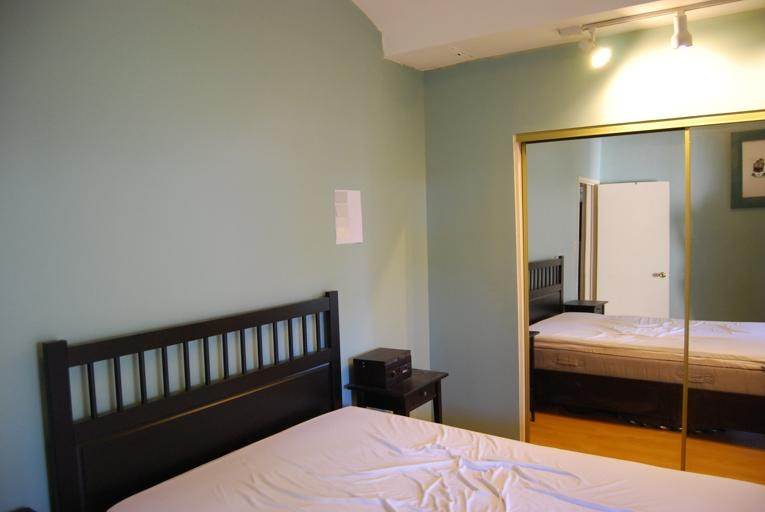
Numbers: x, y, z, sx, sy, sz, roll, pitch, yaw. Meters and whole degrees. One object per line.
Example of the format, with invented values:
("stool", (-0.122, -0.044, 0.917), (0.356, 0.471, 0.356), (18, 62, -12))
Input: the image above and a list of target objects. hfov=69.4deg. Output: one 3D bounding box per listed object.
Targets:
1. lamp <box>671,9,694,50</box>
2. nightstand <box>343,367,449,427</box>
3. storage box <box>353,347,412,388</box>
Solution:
("lamp", (1.825, -1.387, 3.378), (0.106, 0.222, 0.251), (7, 15, 25))
("nightstand", (0.131, 0.838, 3.750), (0.372, 0.484, 0.502), (1, 5, 28))
("storage box", (-0.020, 0.741, 3.699), (0.237, 0.149, 0.298), (-1, 2, 27))
